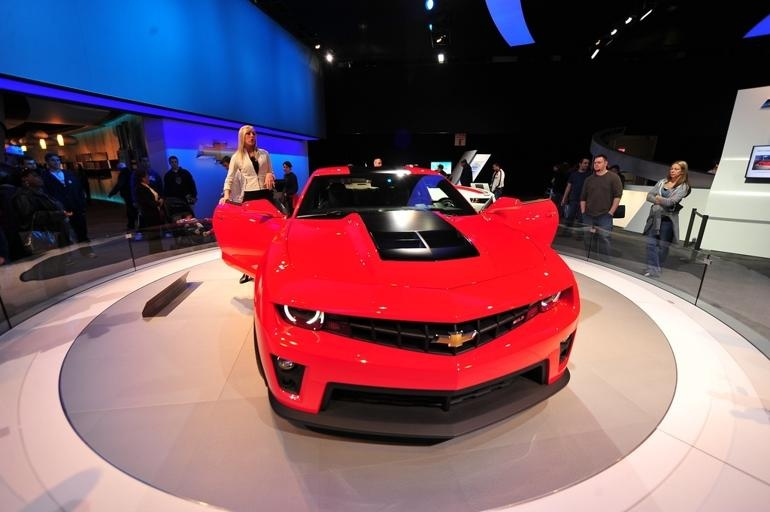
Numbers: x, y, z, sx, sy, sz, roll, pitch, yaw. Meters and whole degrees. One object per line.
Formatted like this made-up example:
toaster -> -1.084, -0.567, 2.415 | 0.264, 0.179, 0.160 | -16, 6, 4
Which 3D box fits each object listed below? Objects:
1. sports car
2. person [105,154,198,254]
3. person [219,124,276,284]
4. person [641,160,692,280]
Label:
sports car -> 0.134, 0.482, 4.426 | 2.724, 1.158, 3.210 | -2, 20, -7
person -> -4.528, -1.066, 8.290 | 0.927, 0.674, 2.315 | -11, -9, -23
person -> -1.907, -0.790, 5.994 | 0.893, 2.113, 0.568 | -8, 3, -32
person -> 4.268, -0.596, 6.448 | 0.534, 1.578, 1.386 | 8, 18, 33
